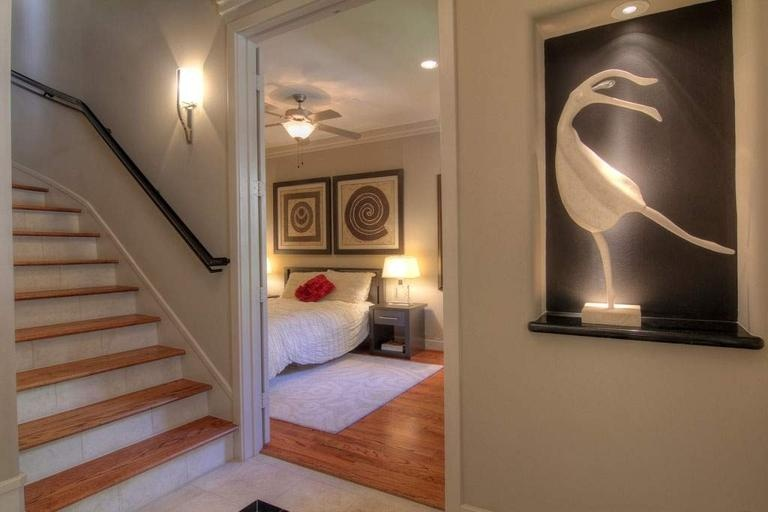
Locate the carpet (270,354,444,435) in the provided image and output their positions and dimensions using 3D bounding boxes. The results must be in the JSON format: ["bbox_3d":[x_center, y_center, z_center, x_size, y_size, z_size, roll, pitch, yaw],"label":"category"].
[{"bbox_3d":[-0.397,1.282,5.298,1.312,0.192,2.022,5,12,30],"label":"carpet"}]

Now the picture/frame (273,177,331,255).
[{"bbox_3d":[-1.136,-0.540,7.433,1.038,1.005,0.056,0,0,32],"label":"picture/frame"}]

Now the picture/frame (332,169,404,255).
[{"bbox_3d":[-0.211,-0.539,6.971,1.073,1.012,0.051,-5,7,-35],"label":"picture/frame"}]

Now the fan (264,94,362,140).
[{"bbox_3d":[-0.802,-1.360,5.325,0.654,0.241,0.638,3,0,7],"label":"fan"}]

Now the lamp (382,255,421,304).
[{"bbox_3d":[0.231,0.302,6.619,0.476,0.595,0.450,-1,11,1],"label":"lamp"}]

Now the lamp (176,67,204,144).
[{"bbox_3d":[-1.452,-1.135,4.014,0.208,0.571,0.141,-3,11,-11],"label":"lamp"}]

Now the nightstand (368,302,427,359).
[{"bbox_3d":[0.185,0.836,6.531,0.756,0.731,0.612,-1,-2,33],"label":"nightstand"}]
